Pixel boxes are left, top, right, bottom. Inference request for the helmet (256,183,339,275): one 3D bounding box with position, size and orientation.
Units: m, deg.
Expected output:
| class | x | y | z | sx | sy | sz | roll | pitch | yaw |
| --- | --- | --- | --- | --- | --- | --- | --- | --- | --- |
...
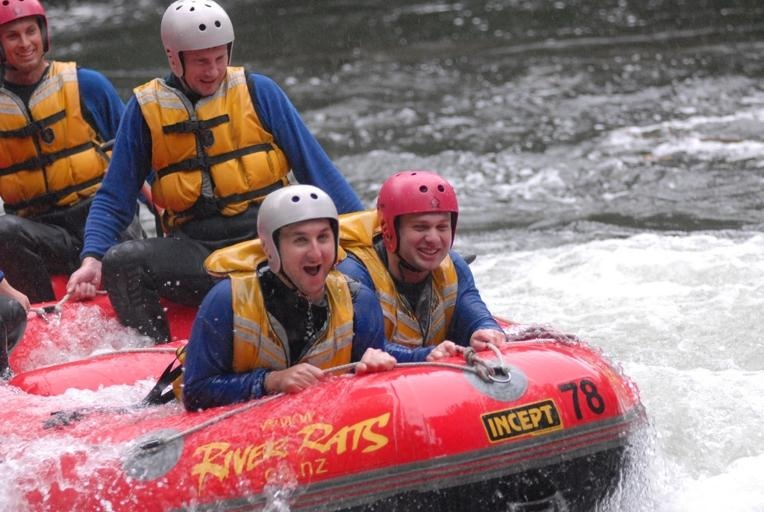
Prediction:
| class | x | y | z | sx | sy | sz | roll | pitch | yaw |
| --- | --- | --- | --- | --- | --- | --- | --- | --- | --- |
| helmet | -0.556 | -0.157 | 6.019 | 0.505 | 0.442 | 0.547 | -10 | -2 | -1 |
